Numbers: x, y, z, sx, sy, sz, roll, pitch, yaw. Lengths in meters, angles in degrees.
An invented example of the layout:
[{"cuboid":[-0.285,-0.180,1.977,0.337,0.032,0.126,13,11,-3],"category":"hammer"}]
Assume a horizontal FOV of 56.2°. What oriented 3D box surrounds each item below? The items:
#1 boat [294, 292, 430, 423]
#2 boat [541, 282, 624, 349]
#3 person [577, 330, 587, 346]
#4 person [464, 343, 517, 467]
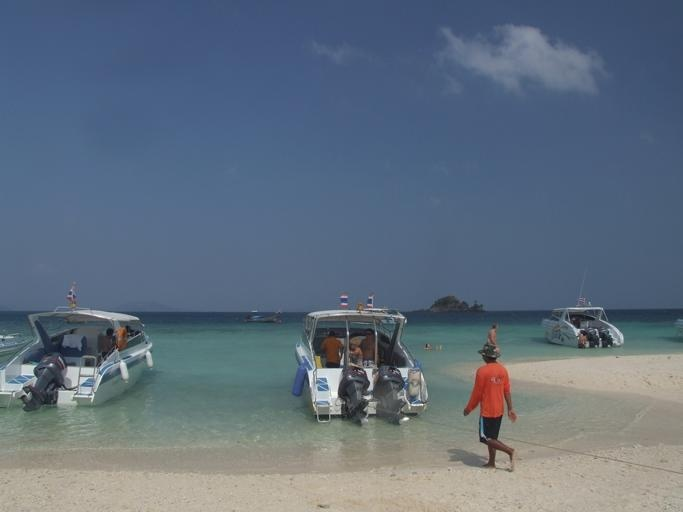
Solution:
[{"cuboid":[0.386,2.512,16.777,2.509,1.972,4.595,-1,1,-3],"category":"boat"},{"cuboid":[11.891,3.545,31.367,2.259,2.028,3.707,-1,1,-8],"category":"boat"},{"cuboid":[11.354,3.934,30.033,0.409,0.701,0.793,0,2,21],"category":"person"},{"cuboid":[2.777,2.824,11.747,0.779,2.410,1.059,1,2,38],"category":"person"}]
